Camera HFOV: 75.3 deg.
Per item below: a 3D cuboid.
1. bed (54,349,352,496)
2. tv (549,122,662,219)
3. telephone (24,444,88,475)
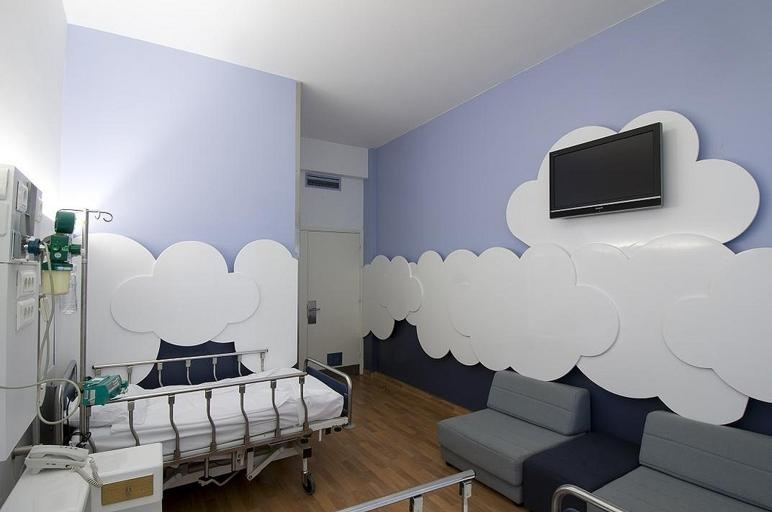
[{"bbox_3d":[-1.540,1.357,4.442,1.810,0.827,1.211,-2,7,-24],"label":"bed"},{"bbox_3d":[2.054,-0.769,4.593,0.099,0.653,0.973,2,-3,-39],"label":"tv"},{"bbox_3d":[-2.197,1.339,3.327,0.268,0.110,0.199,-3,2,-22],"label":"telephone"}]
